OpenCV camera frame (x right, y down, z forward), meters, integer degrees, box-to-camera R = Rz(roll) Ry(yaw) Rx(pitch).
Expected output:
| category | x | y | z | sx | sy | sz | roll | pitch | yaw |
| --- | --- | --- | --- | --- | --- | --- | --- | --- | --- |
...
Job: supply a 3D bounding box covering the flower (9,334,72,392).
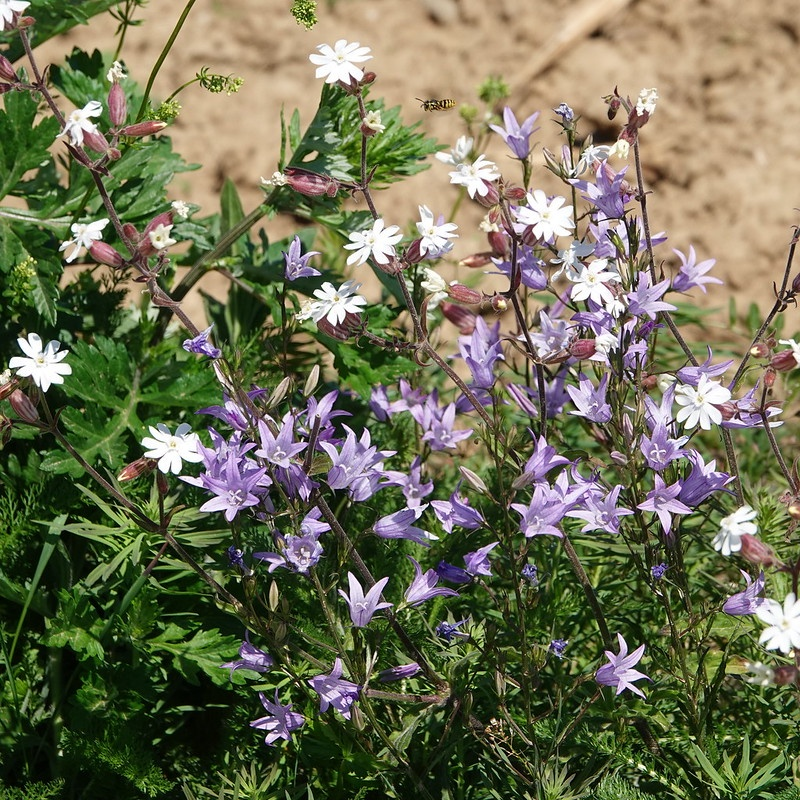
| category | x | y | z | sx | sy | sz | roll | pitch | yaw |
| --- | --- | --- | --- | --- | --- | --- | --- | --- | --- |
| flower | -0.770 | -0.063 | 2.689 | 0.144 | 0.046 | 0.149 | -15 | 64 | -31 |
